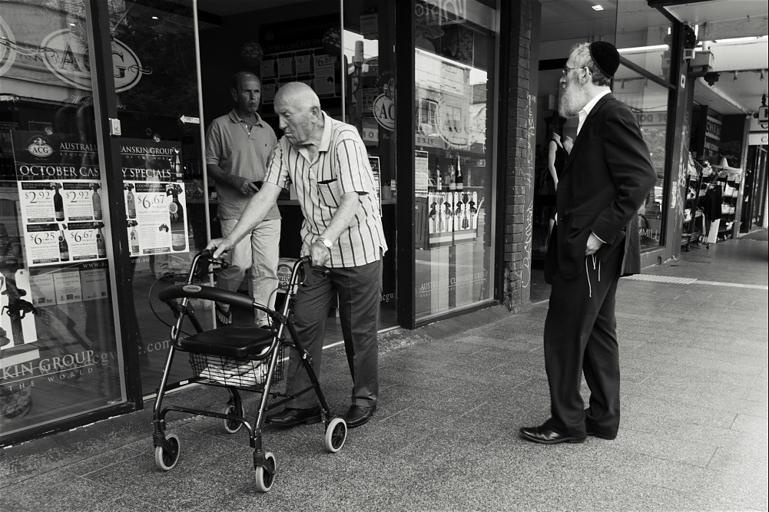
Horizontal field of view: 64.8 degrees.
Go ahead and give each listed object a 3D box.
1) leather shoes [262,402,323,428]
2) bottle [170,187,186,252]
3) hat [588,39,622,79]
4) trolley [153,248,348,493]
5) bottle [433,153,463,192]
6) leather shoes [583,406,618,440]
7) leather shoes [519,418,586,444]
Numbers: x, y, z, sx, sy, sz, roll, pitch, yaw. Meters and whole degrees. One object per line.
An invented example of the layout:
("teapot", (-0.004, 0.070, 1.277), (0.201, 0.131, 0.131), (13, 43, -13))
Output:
("leather shoes", (-0.729, 1.274, 4.888), (0.501, 0.229, 0.186), (4, -2, -26))
("bottle", (-1.835, -0.328, 5.361), (0.069, 0.564, 0.157), (8, 14, 32))
("hat", (1.628, -1.483, 4.523), (0.202, 0.267, 0.092), (-14, 2, -40))
("trolley", (-1.036, 0.722, 4.531), (1.286, 1.514, 1.398), (-4, 2, 43))
("bottle", (0.789, -1.031, 7.575), (0.094, 0.427, 0.638), (9, 15, 36))
("leather shoes", (1.690, 1.262, 4.776), (0.311, 0.228, 0.182), (-1, -3, 41))
("leather shoes", (1.293, 1.378, 4.712), (0.473, 0.205, 0.197), (3, -3, 5))
